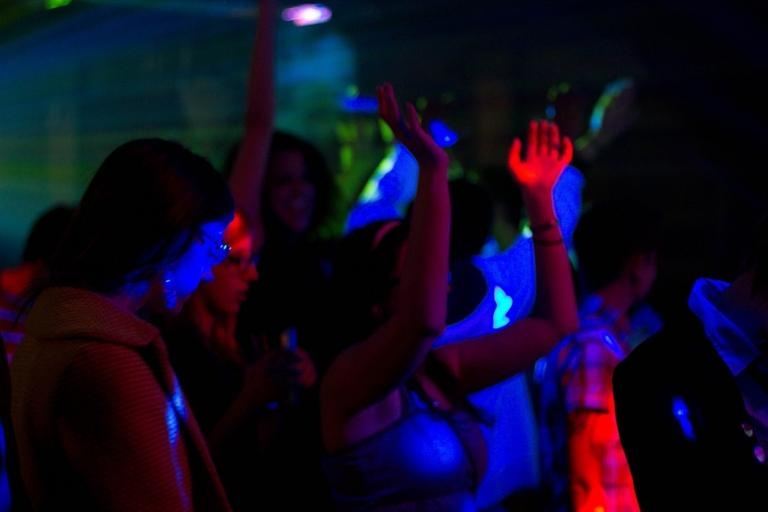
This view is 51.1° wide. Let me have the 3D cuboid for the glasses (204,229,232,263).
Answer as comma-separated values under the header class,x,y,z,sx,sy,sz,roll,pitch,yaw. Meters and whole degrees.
class,x,y,z,sx,sy,sz,roll,pitch,yaw
glasses,-0.697,-0.036,3.315,0.080,0.110,0.111,5,-5,-25
